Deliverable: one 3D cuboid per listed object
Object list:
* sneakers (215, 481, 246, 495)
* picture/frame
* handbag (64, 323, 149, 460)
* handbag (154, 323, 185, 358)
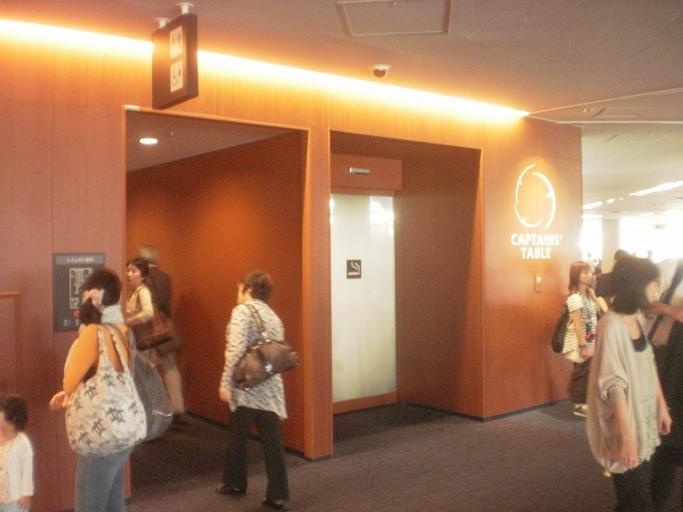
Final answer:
[{"bbox_3d":[-1.005,2.107,5.145,0.278,0.125,0.106,14,4,-9],"label":"sneakers"},{"bbox_3d":[-2.169,0.303,4.812,0.421,0.638,0.328,-2,-5,-4],"label":"picture/frame"},{"bbox_3d":[-1.451,0.839,3.485,0.453,0.770,0.197,-5,7,-28],"label":"handbag"},{"bbox_3d":[-2.018,1.016,6.704,0.335,0.346,0.080,15,1,35],"label":"handbag"}]
